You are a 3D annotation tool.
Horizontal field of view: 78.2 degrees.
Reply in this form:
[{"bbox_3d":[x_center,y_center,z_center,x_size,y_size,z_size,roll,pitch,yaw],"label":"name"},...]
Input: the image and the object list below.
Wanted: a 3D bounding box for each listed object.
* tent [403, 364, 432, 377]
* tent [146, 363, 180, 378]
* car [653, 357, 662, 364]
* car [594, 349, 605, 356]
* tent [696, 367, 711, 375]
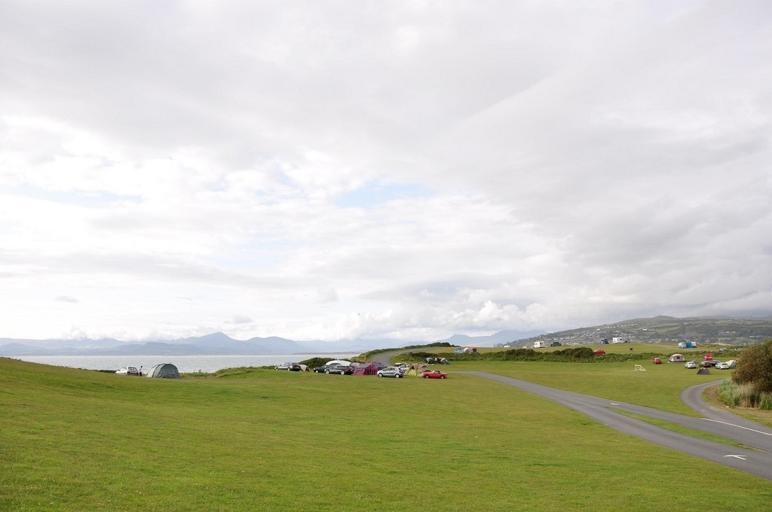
[{"bbox_3d":[6.305,23.254,96.620,3.947,1.336,4.951,-2,-7,22],"label":"tent"},{"bbox_3d":[-41.389,21.702,90.089,4.521,1.821,5.399,-1,-12,10],"label":"tent"},{"bbox_3d":[71.834,27.778,126.018,2.041,1.264,2.939,1,1,2],"label":"car"},{"bbox_3d":[65.817,29.685,145.674,3.273,0.821,2.964,2,-5,-25],"label":"car"},{"bbox_3d":[65.802,24.214,99.856,3.140,1.107,2.754,-6,-15,39],"label":"tent"}]
